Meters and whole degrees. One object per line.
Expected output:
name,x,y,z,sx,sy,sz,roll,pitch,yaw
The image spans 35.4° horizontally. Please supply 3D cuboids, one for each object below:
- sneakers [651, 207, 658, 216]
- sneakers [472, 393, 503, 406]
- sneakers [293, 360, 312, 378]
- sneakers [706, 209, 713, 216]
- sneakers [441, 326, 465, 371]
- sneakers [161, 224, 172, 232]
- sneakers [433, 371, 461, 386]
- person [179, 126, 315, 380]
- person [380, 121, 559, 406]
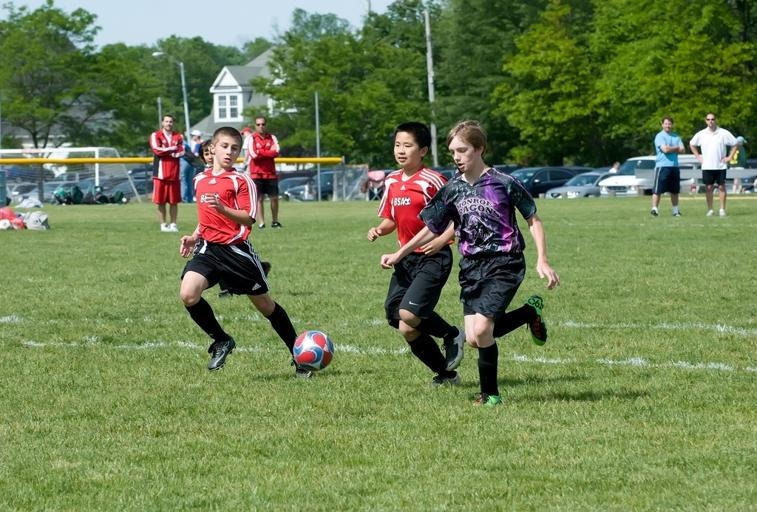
sneakers,4.905,-0.723,20.946,0.105,0.117,0.281,-1,-31,10
sneakers,0.952,1.252,10.391,0.276,0.091,0.207,-1,7,10
sneakers,-0.696,1.070,11.030,0.166,0.123,0.128,0,2,18
sneakers,5.744,-0.731,20.464,0.070,0.073,0.202,7,-15,9
sneakers,0.699,0.864,10.887,0.217,0.388,0.147,20,-33,-7
sneakers,-3.519,-0.463,19.691,0.149,0.135,0.347,-1,-1,-22
sneakers,0.625,1.132,10.860,0.288,0.103,0.095,1,-5,-9
person,-1.359,-0.080,11.155,1.030,2.253,0.703,-4,8,-5
person,0.926,0.050,10.419,1.254,2.461,0.591,-3,8,5
